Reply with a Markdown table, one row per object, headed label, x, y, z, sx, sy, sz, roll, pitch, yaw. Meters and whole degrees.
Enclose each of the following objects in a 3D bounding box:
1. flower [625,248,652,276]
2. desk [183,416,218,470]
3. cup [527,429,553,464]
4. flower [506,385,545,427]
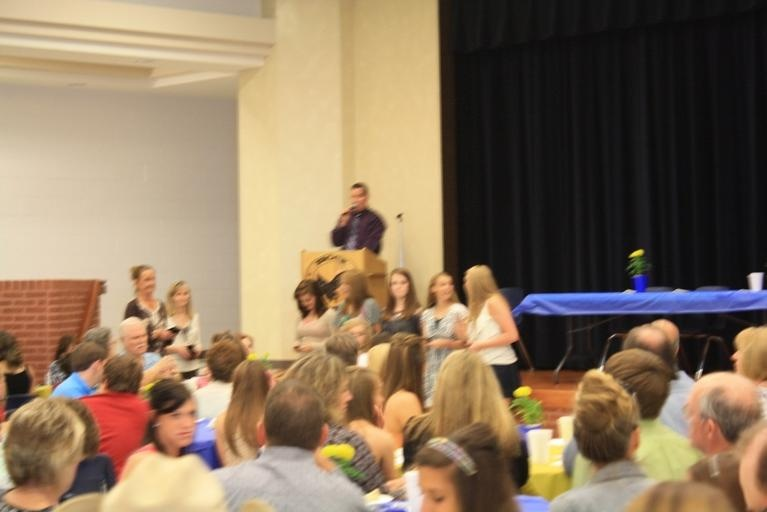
| label | x | y | z | sx | sy | sz | roll | pitch | yaw |
| --- | --- | --- | --- | --- | --- | --- | --- | --- | --- |
| flower | 2.747 | 0.064 | 7.129 | 0.247 | 0.259 | 0.252 | -16 | -7 | 25 |
| desk | -0.973 | 1.015 | 3.592 | 0.185 | 0.227 | 0.511 | 0 | 0 | -14 |
| cup | 0.799 | 0.958 | 3.392 | 0.146 | 0.175 | 0.150 | -1 | 1 | 0 |
| flower | 0.790 | 0.817 | 3.664 | 0.166 | 0.220 | 0.265 | 0 | 0 | 12 |
